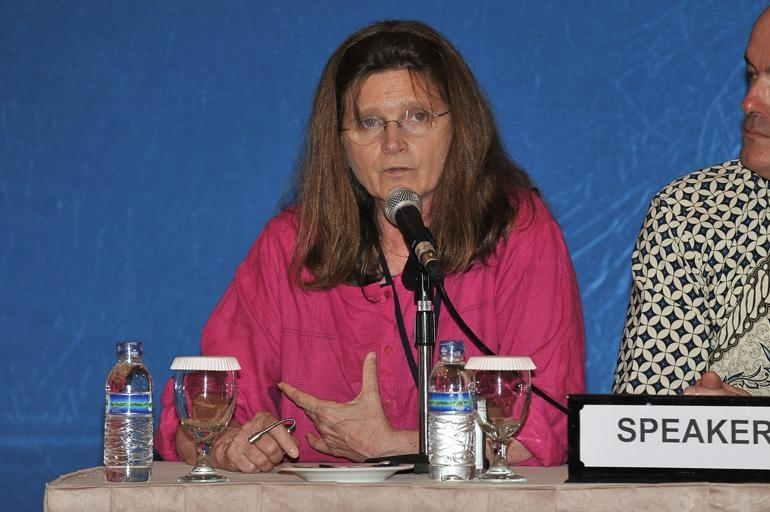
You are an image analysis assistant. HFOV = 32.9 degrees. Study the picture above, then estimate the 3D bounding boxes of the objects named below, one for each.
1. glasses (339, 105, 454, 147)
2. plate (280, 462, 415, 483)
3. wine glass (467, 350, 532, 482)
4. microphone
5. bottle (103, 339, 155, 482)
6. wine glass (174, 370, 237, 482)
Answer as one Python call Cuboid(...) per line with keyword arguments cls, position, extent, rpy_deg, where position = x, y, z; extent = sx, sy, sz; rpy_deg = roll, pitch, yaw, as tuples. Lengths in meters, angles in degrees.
Cuboid(cls="glasses", position=(0.044, -0.495, 4.890), extent=(0.395, 0.120, 0.084), rpy_deg=(-4, -13, 3))
Cuboid(cls="plate", position=(-0.132, 0.696, 4.210), extent=(0.426, 0.085, 0.185), rpy_deg=(-6, -13, 10))
Cuboid(cls="wine glass", position=(0.383, 0.524, 4.201), extent=(0.213, 0.403, 0.170), rpy_deg=(-4, -13, 4))
Cuboid(cls="microphone", position=(0.106, -0.087, 4.373), extent=(0.120, 0.392, 0.247), rpy_deg=(6, -16, -36))
Cuboid(cls="bottle", position=(-0.839, 0.504, 4.283), extent=(0.171, 0.480, 0.155), rpy_deg=(-3, -12, -1))
Cuboid(cls="wine glass", position=(-0.574, 0.553, 4.229), extent=(0.195, 0.359, 0.136), rpy_deg=(-1, -13, -10))
